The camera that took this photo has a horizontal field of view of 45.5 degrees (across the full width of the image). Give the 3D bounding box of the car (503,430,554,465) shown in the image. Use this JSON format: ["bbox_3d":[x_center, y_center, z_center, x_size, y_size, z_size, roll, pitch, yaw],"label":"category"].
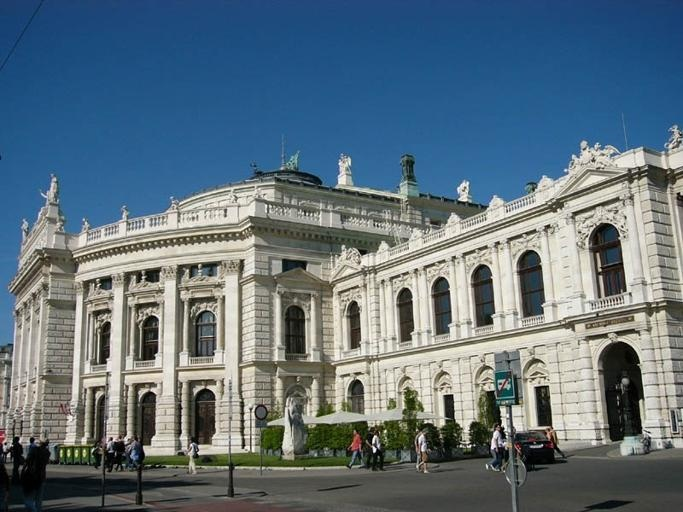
[{"bbox_3d":[10.334,10.502,44.108,1.968,1.369,4.248,-2,-6,4],"label":"car"}]

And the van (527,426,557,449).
[{"bbox_3d":[11.640,10.199,46.802,1.385,1.187,2.429,-6,-29,15],"label":"van"}]
